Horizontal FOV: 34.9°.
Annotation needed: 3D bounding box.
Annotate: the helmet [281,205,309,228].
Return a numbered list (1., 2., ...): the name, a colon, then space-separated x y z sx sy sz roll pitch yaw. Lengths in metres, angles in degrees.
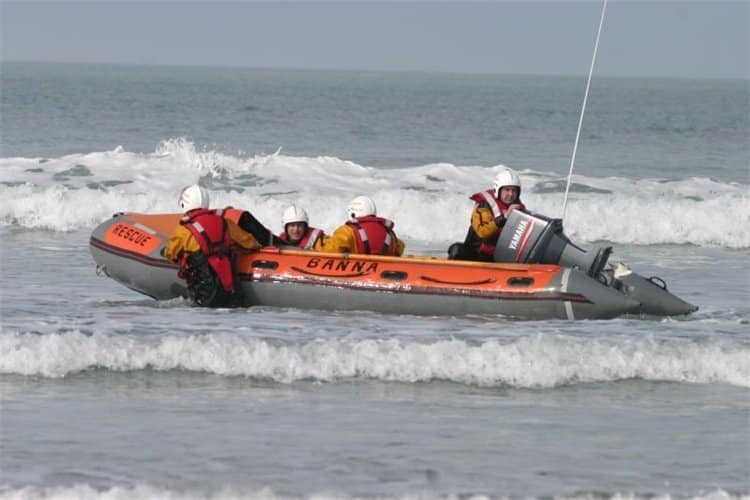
1. helmet: -1.310 -0.575 19.305 0.341 0.319 0.386 -5 19 0

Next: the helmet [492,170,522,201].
1. helmet: 2.024 -1.090 18.876 0.452 0.423 0.515 1 -23 -1

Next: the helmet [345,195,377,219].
1. helmet: -0.266 -0.695 19.043 0.455 0.338 0.359 11 19 39

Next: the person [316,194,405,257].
1. person: -0.194 -0.395 18.994 1.160 0.705 1.127 3 1 45

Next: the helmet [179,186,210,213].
1. helmet: -2.779 -0.822 18.843 0.425 0.430 0.479 1 15 -19
